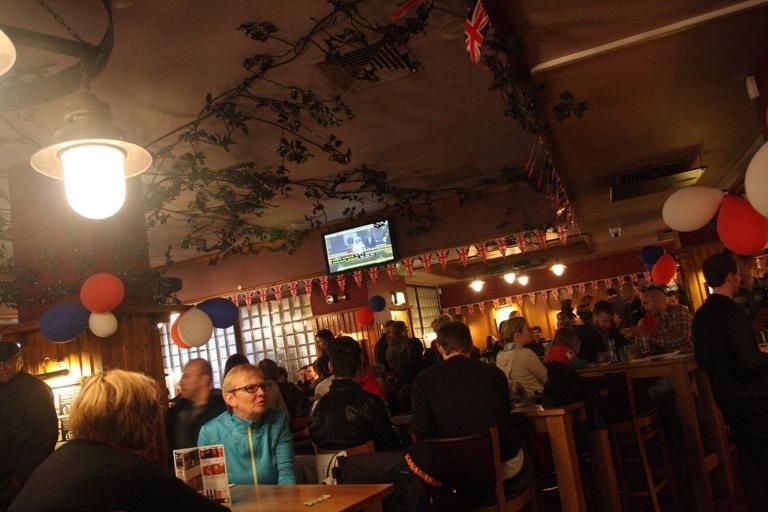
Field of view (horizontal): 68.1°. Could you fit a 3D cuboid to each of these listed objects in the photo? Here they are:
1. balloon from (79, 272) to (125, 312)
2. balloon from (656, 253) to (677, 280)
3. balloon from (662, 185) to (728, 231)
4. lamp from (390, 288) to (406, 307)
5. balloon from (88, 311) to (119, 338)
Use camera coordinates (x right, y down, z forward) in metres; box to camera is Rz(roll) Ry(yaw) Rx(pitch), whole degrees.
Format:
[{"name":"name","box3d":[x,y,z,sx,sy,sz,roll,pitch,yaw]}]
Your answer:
[{"name":"balloon","box3d":[-2.828,0.394,5.748,0.442,0.482,0.433,4,-14,-43]},{"name":"balloon","box3d":[3.929,0.176,7.836,0.234,0.355,0.271,16,-13,-24]},{"name":"balloon","box3d":[3.113,-0.497,5.797,0.620,0.449,0.463,-19,-6,26]},{"name":"lamp","box3d":[0.348,1.036,14.079,0.355,0.422,0.656,-5,-11,21]},{"name":"balloon","box3d":[-2.868,0.691,5.840,0.216,0.230,0.247,-22,-20,40]}]
